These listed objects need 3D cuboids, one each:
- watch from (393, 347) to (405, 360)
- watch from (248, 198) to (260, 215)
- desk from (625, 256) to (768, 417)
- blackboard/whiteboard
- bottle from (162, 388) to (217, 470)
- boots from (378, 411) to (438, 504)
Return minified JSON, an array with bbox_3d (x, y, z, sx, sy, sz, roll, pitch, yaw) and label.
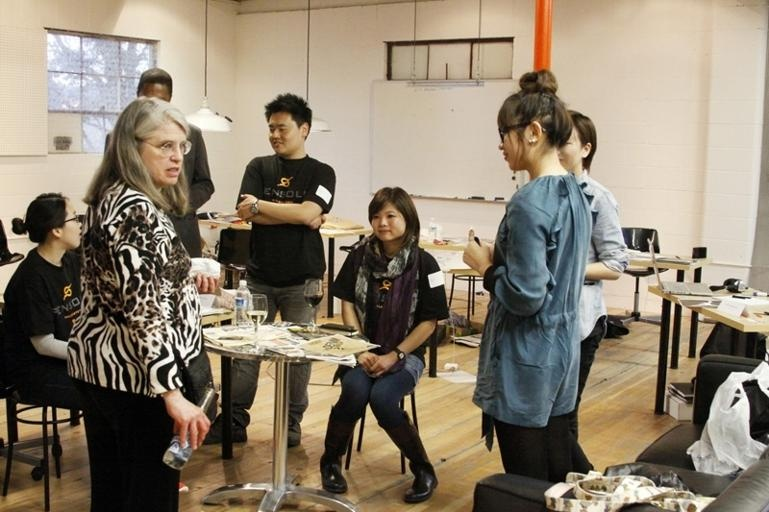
[{"bbox_3d":[0.083,0.595,3.445,0.048,0.071,0.065,-36,39,-15],"label":"watch"},{"bbox_3d":[-0.880,-0.331,3.738,0.062,0.093,0.087,12,-1,-18],"label":"watch"},{"bbox_3d":[2.660,0.669,4.840,0.687,0.618,1.250,-1,9,-8],"label":"desk"},{"bbox_3d":[0.895,-1.632,8.047,2.701,1.981,0.180,4,9,27],"label":"blackboard/whiteboard"},{"bbox_3d":[-0.725,0.657,2.094,0.201,0.314,0.147,-3,11,-23],"label":"bottle"},{"bbox_3d":[0.153,1.169,3.389,0.300,0.522,0.245,4,10,18],"label":"boots"}]
